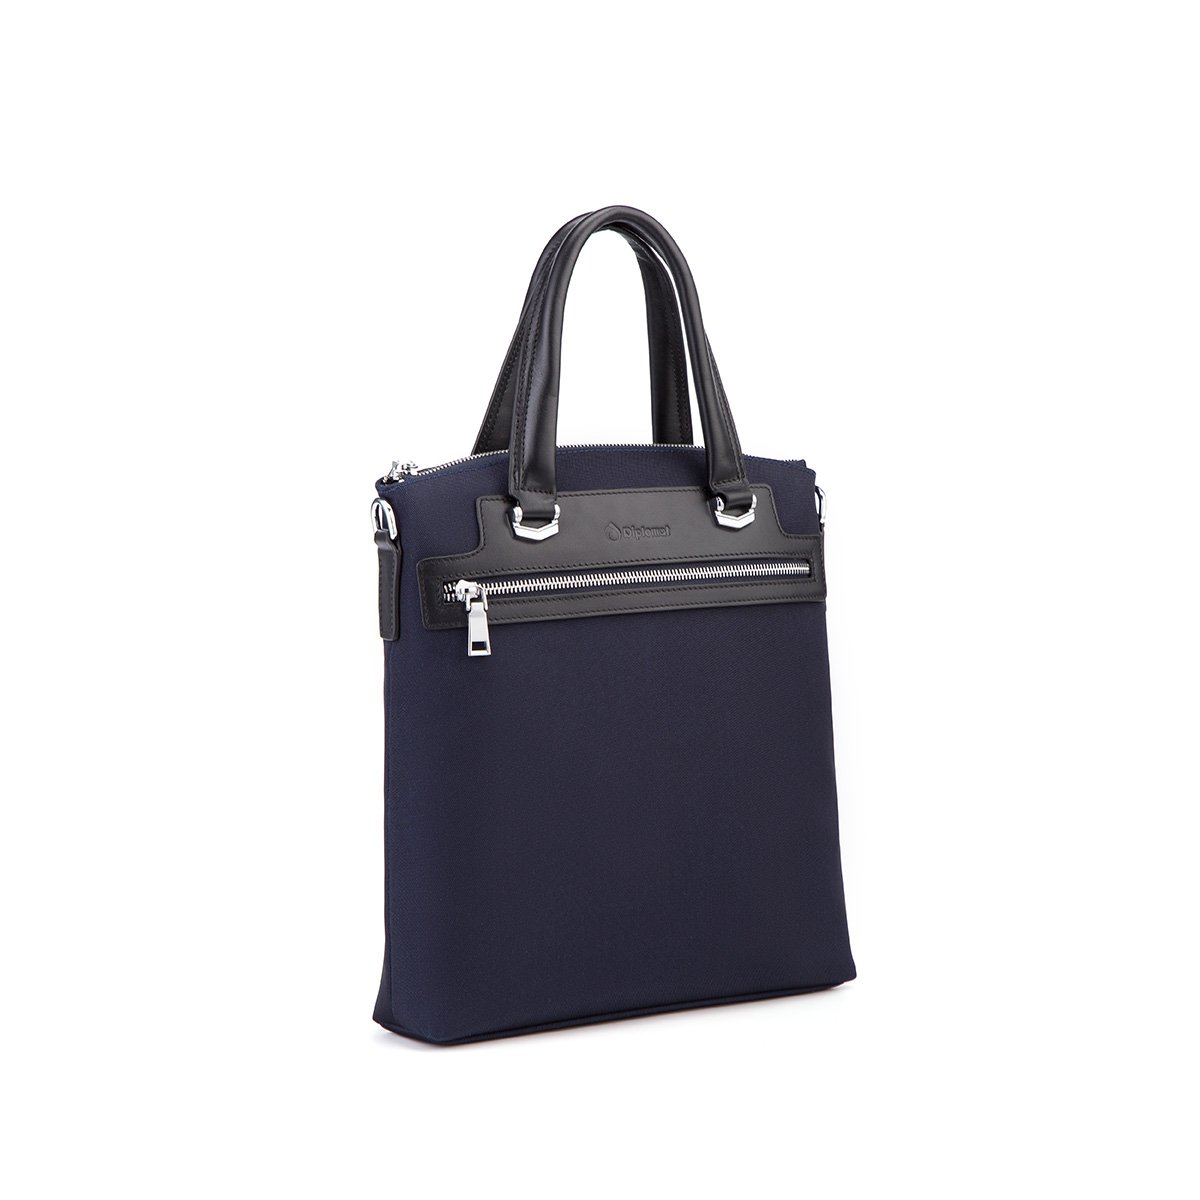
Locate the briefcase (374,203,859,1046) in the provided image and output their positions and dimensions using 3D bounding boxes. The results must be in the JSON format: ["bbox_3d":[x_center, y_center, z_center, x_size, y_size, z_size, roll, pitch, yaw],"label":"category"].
[{"bbox_3d":[0.025,0.062,2.066,0.716,0.981,0.971,-1,-47,0],"label":"briefcase"}]
